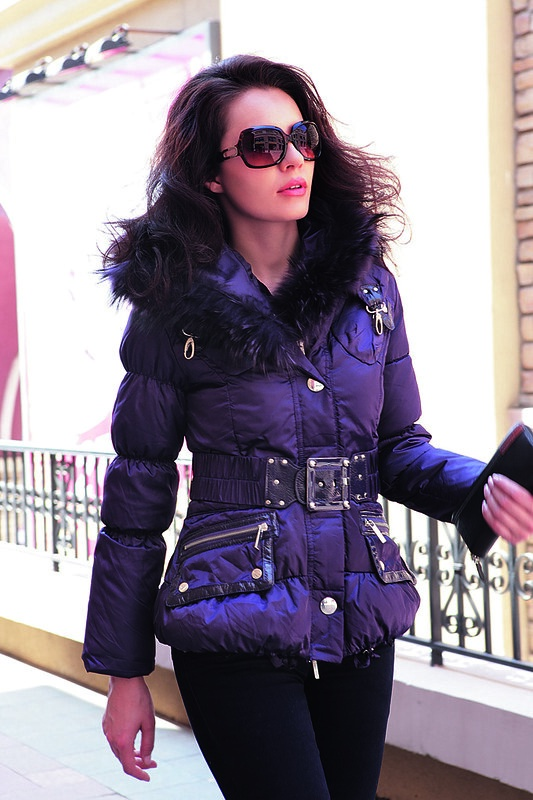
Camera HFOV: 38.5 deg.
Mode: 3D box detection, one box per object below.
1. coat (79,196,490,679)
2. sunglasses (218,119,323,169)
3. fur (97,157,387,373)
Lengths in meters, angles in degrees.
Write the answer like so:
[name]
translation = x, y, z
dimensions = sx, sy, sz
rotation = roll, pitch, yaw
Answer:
[coat]
translation = 0.049, 0.063, 1.329
dimensions = 0.632, 0.831, 0.423
rotation = 1, 4, -29
[sunglasses]
translation = 0.018, -0.438, 1.309
dimensions = 0.126, 0.050, 0.126
rotation = -12, 3, -38
[fur]
translation = -0.050, -0.201, 1.333
dimensions = 0.412, 0.414, 0.165
rotation = 1, 30, -7
